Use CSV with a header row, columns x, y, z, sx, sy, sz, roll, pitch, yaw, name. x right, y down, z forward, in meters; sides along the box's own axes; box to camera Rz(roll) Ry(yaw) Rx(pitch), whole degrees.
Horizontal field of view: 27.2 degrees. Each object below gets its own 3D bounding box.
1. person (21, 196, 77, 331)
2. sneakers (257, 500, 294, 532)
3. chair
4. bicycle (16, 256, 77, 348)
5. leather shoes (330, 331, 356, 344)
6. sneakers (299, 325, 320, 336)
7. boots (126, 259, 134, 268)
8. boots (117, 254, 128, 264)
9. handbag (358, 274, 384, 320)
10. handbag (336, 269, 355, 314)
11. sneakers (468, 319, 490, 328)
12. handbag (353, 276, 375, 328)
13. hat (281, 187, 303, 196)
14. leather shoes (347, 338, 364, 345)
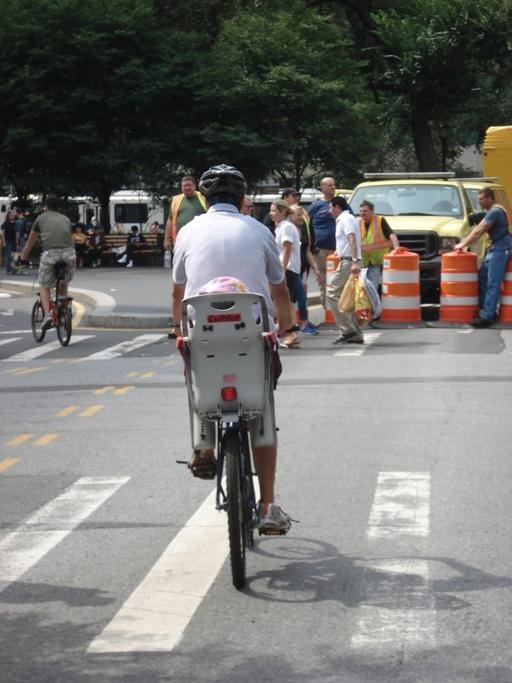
x,y,z,sx,sy,sz,roll,pitch,yaw,name
-2.747,-0.993,14.052,0.679,1.790,1.552,-4,8,-11,person
0.073,0.718,4.279,0.164,0.145,0.316,0,-20,-1,sneakers
-0.121,0.037,4.069,0.367,0.488,0.475,-5,9,-10,chair
-2.754,-0.436,14.086,0.606,0.763,1.228,0,7,-19,bicycle
1.089,-0.032,13.122,0.325,0.138,0.108,1,7,8,leather shoes
0.743,-0.152,14.418,0.219,0.148,0.499,0,9,20,sneakers
-4.702,-2.873,39.342,0.195,0.364,0.513,6,15,-12,boots
-5.032,-3.047,39.520,0.409,0.406,0.200,19,3,16,boots
1.428,-0.563,13.303,0.268,0.580,0.529,-21,8,9,handbag
1.097,-0.566,12.829,0.226,0.488,0.300,-3,8,0,handbag
3.069,-0.234,14.596,0.282,0.123,0.105,5,1,7,sneakers
1.293,-0.487,12.855,0.223,0.607,0.318,-2,8,6,handbag
0.430,-1.922,13.572,0.209,0.076,0.143,-2,0,35,hat
1.230,0.009,13.068,0.190,0.085,0.153,-2,8,5,leather shoes
